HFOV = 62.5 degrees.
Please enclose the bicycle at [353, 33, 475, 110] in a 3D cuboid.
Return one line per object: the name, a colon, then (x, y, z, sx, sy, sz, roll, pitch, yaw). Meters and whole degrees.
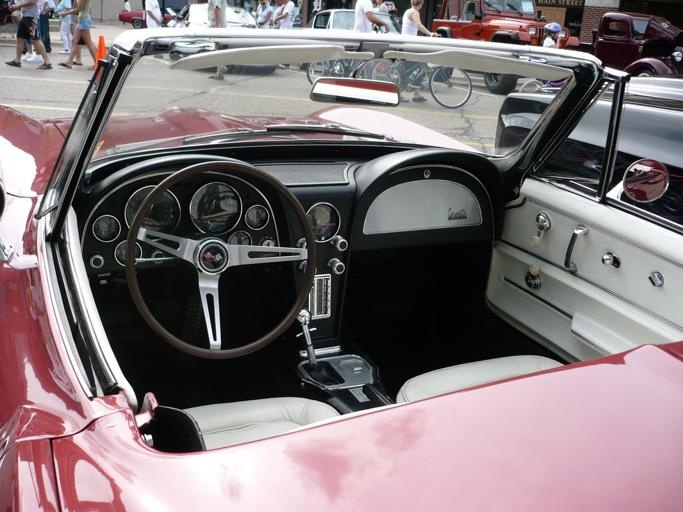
bicycle: (0.324, -0.787, 2.398, 0.435, 0.289, 0.247, -1, 54, -10)
